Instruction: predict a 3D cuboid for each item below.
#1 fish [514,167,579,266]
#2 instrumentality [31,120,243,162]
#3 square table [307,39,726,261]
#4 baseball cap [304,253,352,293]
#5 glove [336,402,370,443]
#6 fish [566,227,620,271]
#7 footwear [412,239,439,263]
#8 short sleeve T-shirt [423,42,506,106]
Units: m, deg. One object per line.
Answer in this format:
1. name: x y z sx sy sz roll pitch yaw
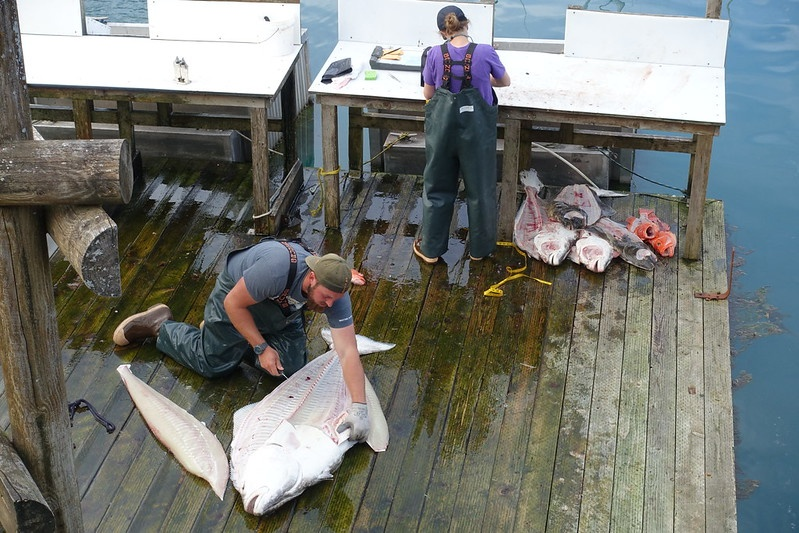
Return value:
1. fish: 1.343 -0.486 6.750 0.426 0.125 0.947 -8 48 -2
2. instrumentality: -2.468 -1.375 7.475 2.997 0.477 0.667 2 6 8
3. square table: 1.113 -1.104 6.739 2.785 1.270 1.070 7 62 9
4. baseball cap: -0.492 0.026 4.813 0.206 0.178 0.310 -20 65 -37
5. glove: -0.329 1.132 4.991 0.198 0.129 0.289 21 65 -3
6. fish: 1.779 -0.137 6.549 0.382 0.145 0.406 -23 71 -9
7. footwear: 0.225 -0.128 6.644 0.119 0.118 0.315 -9 34 -14
8. short sleeve T-shirt: 0.540 -1.606 5.900 0.671 0.608 0.392 0 34 12
